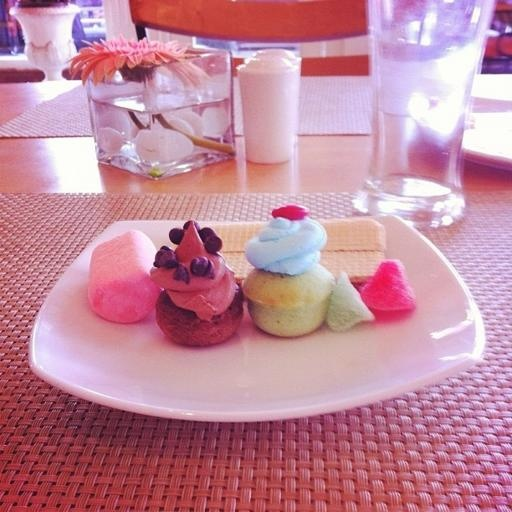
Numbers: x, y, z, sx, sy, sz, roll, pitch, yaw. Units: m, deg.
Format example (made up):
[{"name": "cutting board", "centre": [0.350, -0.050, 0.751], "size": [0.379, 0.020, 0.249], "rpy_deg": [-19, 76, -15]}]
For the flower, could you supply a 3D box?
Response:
[{"name": "flower", "centre": [-0.210, -0.313, 0.978], "size": [0.300, 0.253, 0.277], "rpy_deg": [20, 34, 34]}]
